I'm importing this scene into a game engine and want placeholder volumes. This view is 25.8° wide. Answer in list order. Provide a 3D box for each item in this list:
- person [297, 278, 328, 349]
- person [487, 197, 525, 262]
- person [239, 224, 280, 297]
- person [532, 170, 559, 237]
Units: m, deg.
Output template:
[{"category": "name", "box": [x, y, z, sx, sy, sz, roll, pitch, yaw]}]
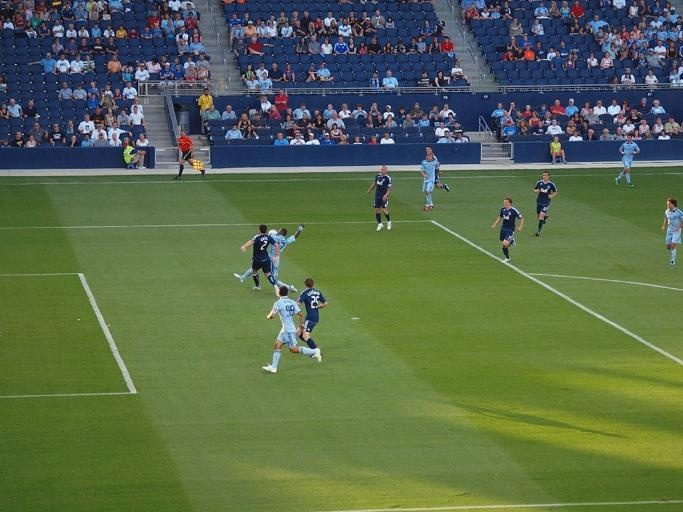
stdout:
[{"category": "person", "box": [-0.893, 1.548, 41.217, 1.038, 2.064, 0.788, 3, -1, -25]}, {"category": "person", "box": [5.486, -1.001, 49.450, 1.111, 1.997, 0.916, 4, 6, 16]}, {"category": "person", "box": [-2.551, -0.105, 46.127, 1.106, 2.170, 1.132, 3, 5, 33]}, {"category": "person", "box": [7.281, -2.054, 52.604, 0.833, 2.477, 0.929, 6, 13, -8]}]
